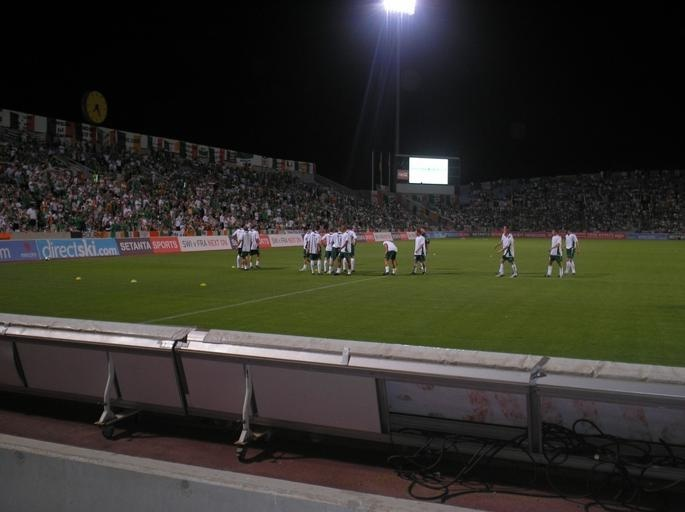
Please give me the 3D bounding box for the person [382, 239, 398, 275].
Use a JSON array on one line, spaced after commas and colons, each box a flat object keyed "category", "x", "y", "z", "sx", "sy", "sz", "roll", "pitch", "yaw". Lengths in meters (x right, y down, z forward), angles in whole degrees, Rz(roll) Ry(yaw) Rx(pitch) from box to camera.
[{"category": "person", "x": 2.056, "y": 0.096, "z": 23.683, "sx": 0.760, "sy": 0.600, "sz": 1.747, "roll": -21, "pitch": 12, "yaw": 14}]
